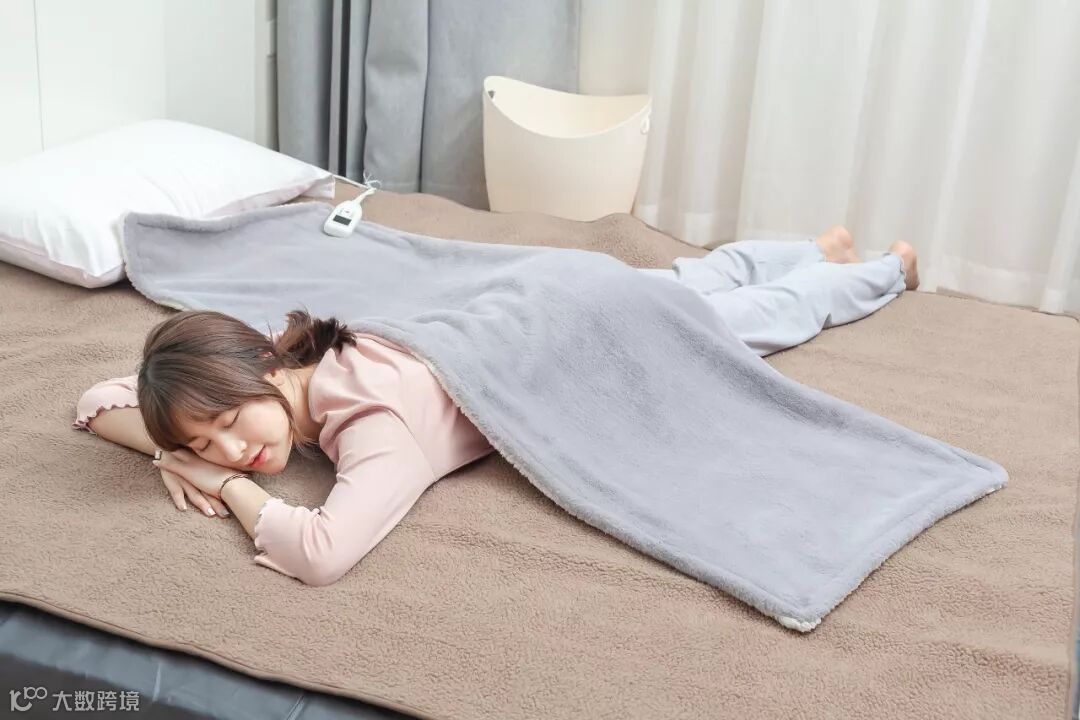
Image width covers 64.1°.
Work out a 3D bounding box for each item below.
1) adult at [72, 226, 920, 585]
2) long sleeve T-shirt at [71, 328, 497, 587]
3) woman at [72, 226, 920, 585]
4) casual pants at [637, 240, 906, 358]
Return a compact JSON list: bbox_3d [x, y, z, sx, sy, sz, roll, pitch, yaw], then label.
[{"bbox_3d":[0.087,-0.098,1.807,1.670,0.307,0.707,-18,32,-29],"label":"adult"},{"bbox_3d":[-0.348,0.090,1.794,0.694,0.239,0.900,31,27,32],"label":"long sleeve T-shirt"},{"bbox_3d":[-0.152,0.017,2.195,0.820,0.322,1.988,35,26,31],"label":"woman"},{"bbox_3d":[0.668,-0.199,2.256,0.349,0.152,0.620,10,16,37],"label":"casual pants"}]
